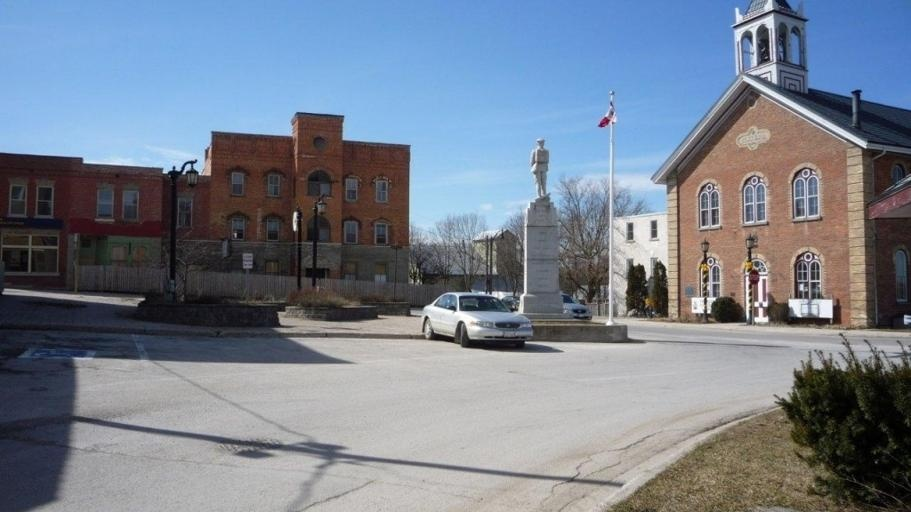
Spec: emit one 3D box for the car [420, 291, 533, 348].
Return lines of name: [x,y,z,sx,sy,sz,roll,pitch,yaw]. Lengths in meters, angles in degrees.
car: [0.778,2.761,32.493,2.228,2.216,4.692,-7,11,-37]

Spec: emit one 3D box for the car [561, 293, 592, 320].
car: [6.565,2.938,43.631,1.145,0.922,2.700,0,-7,-4]
